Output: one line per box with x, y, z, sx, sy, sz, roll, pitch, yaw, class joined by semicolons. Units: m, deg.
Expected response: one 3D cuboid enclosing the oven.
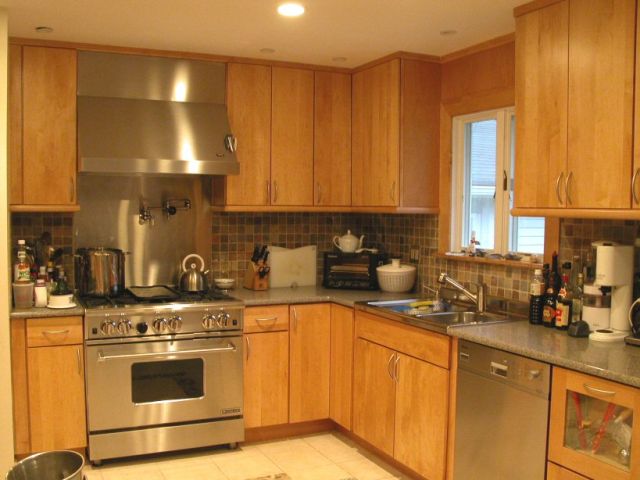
-1.266;1.165;4.175;1.202;0.788;1.186;9;-23;-43;oven

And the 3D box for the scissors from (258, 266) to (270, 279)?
-0.449;0.251;4.477;0.100;0.099;0.013;-6;21;-30;scissors

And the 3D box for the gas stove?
-1.108;0.521;3.967;1.036;0.299;0.490;-3;3;-24;gas stove

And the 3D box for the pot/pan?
-1.573;0.223;4.040;0.391;0.410;0.303;-2;5;-26;pot/pan

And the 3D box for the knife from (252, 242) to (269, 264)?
-0.476;0.102;4.490;0.043;0.142;0.159;14;-8;-33;knife

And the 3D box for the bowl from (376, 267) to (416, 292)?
0.577;0.300;4.352;0.229;0.155;0.230;0;6;0;bowl

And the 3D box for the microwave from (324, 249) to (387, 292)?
0.239;0.244;4.501;0.499;0.331;0.289;1;0;20;microwave

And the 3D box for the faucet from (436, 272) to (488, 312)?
0.980;0.341;3.889;0.294;0.256;0.442;-2;3;14;faucet

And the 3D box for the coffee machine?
1.533;0.262;2.947;0.273;0.491;0.185;-2;3;6;coffee machine

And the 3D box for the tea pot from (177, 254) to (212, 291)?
-0.986;0.252;4.341;0.232;0.287;0.296;0;2;-13;tea pot

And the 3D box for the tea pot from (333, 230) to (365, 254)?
0.234;0.024;4.784;0.245;0.173;0.165;3;3;25;tea pot

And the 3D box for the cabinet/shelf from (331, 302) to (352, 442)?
0.155;0.911;4.107;0.080;0.877;0.290;-4;3;-26;cabinet/shelf

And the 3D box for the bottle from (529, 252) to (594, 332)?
1.380;0.308;3.202;0.144;0.384;0.411;0;3;-17;bottle

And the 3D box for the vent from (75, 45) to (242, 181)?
-1.176;-0.899;4.104;1.097;0.807;0.412;-2;8;-25;vent
